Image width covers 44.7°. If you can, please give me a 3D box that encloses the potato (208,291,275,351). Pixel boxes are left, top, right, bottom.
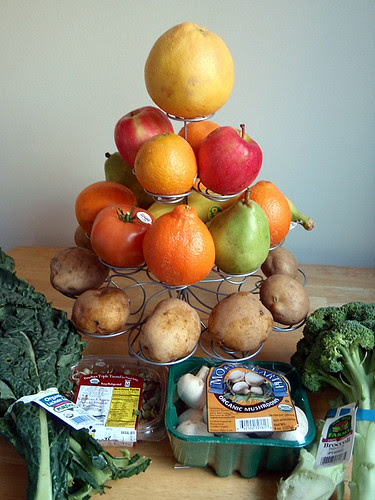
[{"bbox_3d":[0.071,0.092,0.652,0.075,0.063,0.086,22,4,0],"label":"potato"}]

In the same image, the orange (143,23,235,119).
[{"bbox_3d":[0.007,-0.243,0.636,0.122,0.116,0.125,28,44,34],"label":"orange"}]

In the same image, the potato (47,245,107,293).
[{"bbox_3d":[-0.169,0.031,0.652,0.082,0.055,0.061,-3,-3,-36],"label":"potato"}]

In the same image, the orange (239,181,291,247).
[{"bbox_3d":[0.123,-0.058,0.706,0.098,0.108,0.089,-5,13,-12],"label":"orange"}]

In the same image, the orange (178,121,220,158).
[{"bbox_3d":[0.024,-0.166,0.688,0.071,0.061,0.066,5,20,13],"label":"orange"}]

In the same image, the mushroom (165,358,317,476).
[{"bbox_3d":[0.067,0.214,0.608,0.192,0.080,0.171,3,26,0],"label":"mushroom"}]

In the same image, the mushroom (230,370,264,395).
[{"bbox_3d":[0.076,0.172,0.589,0.029,0.010,0.027,8,23,14],"label":"mushroom"}]

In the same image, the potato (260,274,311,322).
[{"bbox_3d":[0.140,0.072,0.706,0.073,0.060,0.056,53,6,9],"label":"potato"}]

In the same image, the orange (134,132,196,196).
[{"bbox_3d":[-0.028,-0.104,0.564,0.083,0.075,0.080,7,28,23],"label":"orange"}]

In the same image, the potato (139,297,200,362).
[{"bbox_3d":[-0.018,0.102,0.616,0.067,0.050,0.088,33,46,25],"label":"potato"}]

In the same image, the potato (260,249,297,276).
[{"bbox_3d":[0.154,0.024,0.758,0.045,0.052,0.032,-2,-5,9],"label":"potato"}]

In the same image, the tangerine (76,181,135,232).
[{"bbox_3d":[-0.127,-0.069,0.710,0.083,0.079,0.084,-17,0,-15],"label":"tangerine"}]

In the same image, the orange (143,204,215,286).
[{"bbox_3d":[-0.008,-0.003,0.609,0.100,0.108,0.102,9,20,20],"label":"orange"}]
